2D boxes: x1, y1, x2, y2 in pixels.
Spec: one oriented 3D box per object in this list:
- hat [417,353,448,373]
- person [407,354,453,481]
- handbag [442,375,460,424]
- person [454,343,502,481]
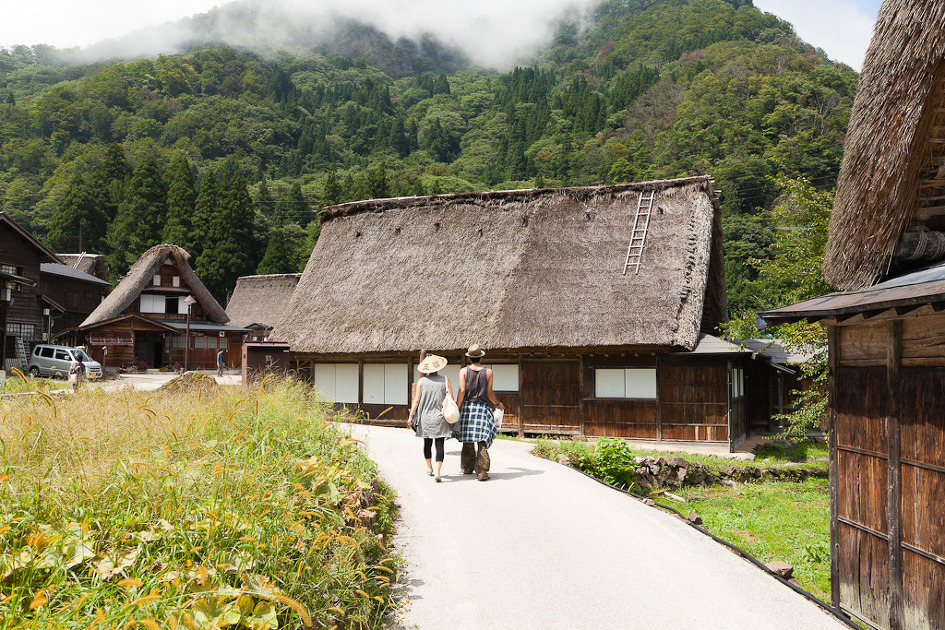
[{"bbox_3d":[-0.611,0.813,13.230,0.356,0.116,0.372,-15,32,11],"label":"hat"},{"bbox_3d":[-0.643,1.578,13.564,0.666,1.988,1.109,8,7,-3],"label":"person"},{"bbox_3d":[-0.317,1.347,13.185,0.304,0.706,0.379,8,6,-3],"label":"handbag"},{"bbox_3d":[0.080,1.534,13.462,0.719,2.099,0.675,8,7,1],"label":"person"}]
